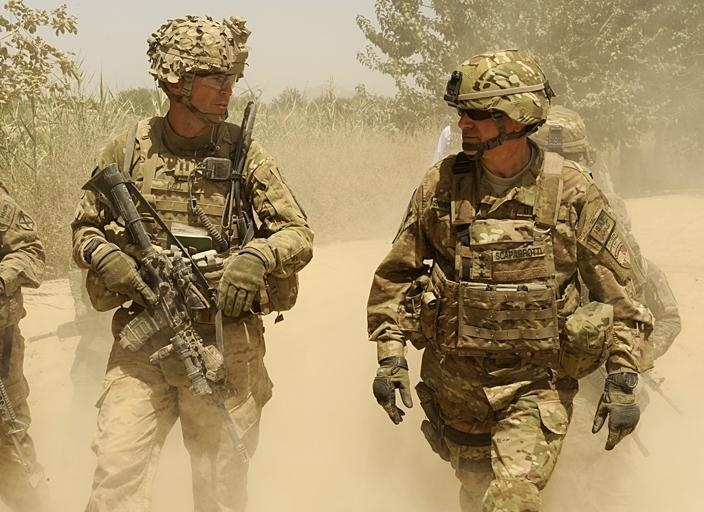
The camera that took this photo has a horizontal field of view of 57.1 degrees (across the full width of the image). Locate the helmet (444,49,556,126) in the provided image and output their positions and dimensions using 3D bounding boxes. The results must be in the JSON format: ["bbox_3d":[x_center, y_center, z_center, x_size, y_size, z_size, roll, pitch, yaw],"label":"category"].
[{"bbox_3d":[0.847,-0.999,3.756,0.537,0.377,0.421,-7,20,-8],"label":"helmet"}]

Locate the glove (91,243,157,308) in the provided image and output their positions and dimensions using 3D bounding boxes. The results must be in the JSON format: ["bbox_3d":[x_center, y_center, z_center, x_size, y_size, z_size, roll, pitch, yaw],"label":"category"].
[{"bbox_3d":[-1.373,0.123,3.999,0.263,0.457,0.164,-43,0,5],"label":"glove"}]

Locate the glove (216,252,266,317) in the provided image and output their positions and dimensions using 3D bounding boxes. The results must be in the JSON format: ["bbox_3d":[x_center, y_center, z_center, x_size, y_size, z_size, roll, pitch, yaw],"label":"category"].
[{"bbox_3d":[-0.647,0.156,3.903,0.267,0.374,0.165,32,2,2],"label":"glove"}]

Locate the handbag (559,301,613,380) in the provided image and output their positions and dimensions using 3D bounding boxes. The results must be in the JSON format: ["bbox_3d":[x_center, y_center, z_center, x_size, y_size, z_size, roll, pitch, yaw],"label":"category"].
[{"bbox_3d":[1.309,0.458,3.620,0.173,0.249,0.331,15,40,25],"label":"handbag"}]
